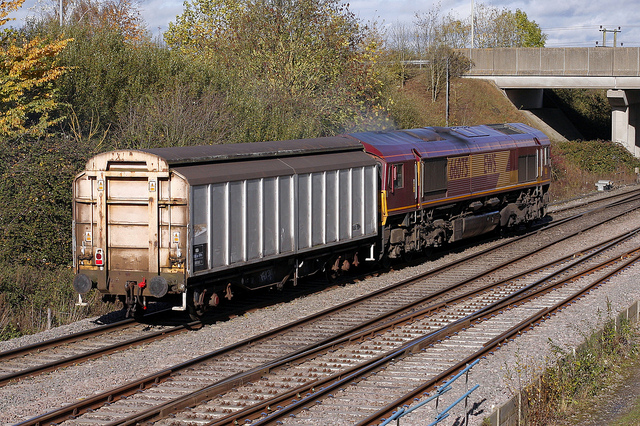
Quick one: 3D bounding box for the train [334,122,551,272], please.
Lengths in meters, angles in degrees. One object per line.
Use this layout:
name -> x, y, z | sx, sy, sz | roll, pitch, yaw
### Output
train -> 5.761, -1.307, 29.868 | 12.546, 4.464, 3.184 | -9, 9, -42

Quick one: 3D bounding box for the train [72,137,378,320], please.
train -> -2.377, 0.077, 23.199 | 3.831, 4.899, 11.767 | 1, 6, 30

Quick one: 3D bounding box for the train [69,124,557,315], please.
train -> 0.727, -0.512, 27.555 | 4.031, 4.921, 23.145 | 0, 6, 32
